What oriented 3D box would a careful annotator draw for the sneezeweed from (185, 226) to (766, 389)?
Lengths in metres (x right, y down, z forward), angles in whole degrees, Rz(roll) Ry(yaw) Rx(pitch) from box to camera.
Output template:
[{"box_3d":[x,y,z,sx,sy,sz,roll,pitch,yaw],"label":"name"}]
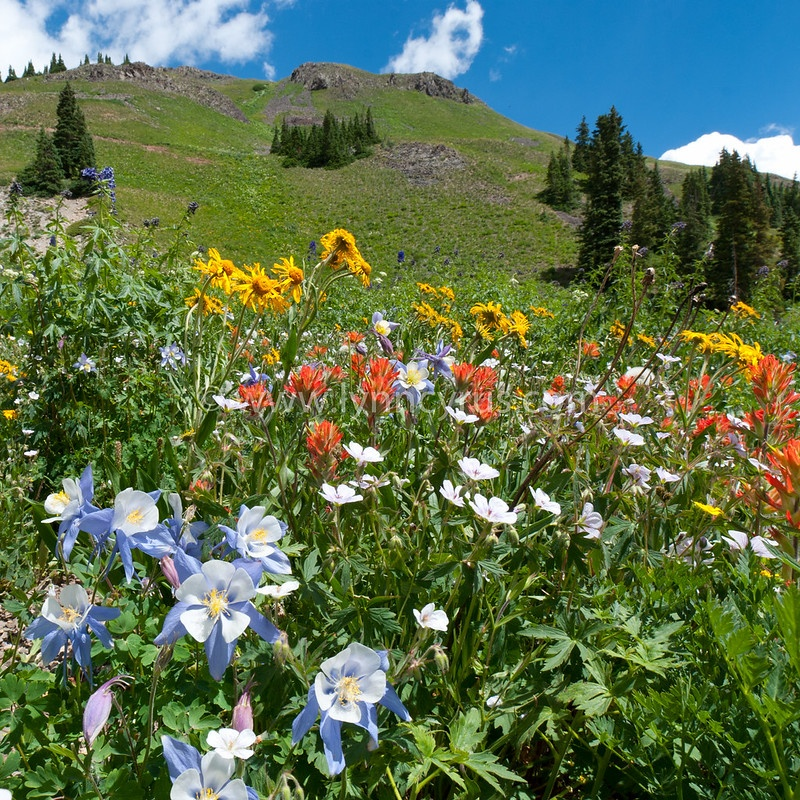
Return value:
[{"box_3d":[-0.066,-0.456,3.321,1.874,0.670,2.317,2,14,-21],"label":"sneezeweed"}]
